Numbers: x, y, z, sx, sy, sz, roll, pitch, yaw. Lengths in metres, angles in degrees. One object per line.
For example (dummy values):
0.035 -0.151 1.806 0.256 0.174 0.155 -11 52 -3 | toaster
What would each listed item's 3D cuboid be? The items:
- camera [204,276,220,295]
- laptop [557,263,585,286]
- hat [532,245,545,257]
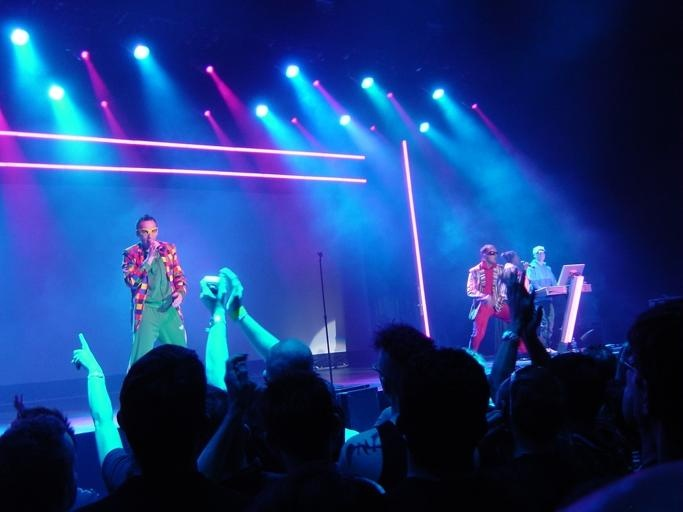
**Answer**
-0.831 0.189 3.414 0.102 0.143 0.109 -2 -3 -10 | camera
3.857 0.272 8.876 0.440 0.480 0.354 1 5 -2 | laptop
3.767 -0.117 10.056 0.185 0.160 0.296 -6 -13 -5 | hat
